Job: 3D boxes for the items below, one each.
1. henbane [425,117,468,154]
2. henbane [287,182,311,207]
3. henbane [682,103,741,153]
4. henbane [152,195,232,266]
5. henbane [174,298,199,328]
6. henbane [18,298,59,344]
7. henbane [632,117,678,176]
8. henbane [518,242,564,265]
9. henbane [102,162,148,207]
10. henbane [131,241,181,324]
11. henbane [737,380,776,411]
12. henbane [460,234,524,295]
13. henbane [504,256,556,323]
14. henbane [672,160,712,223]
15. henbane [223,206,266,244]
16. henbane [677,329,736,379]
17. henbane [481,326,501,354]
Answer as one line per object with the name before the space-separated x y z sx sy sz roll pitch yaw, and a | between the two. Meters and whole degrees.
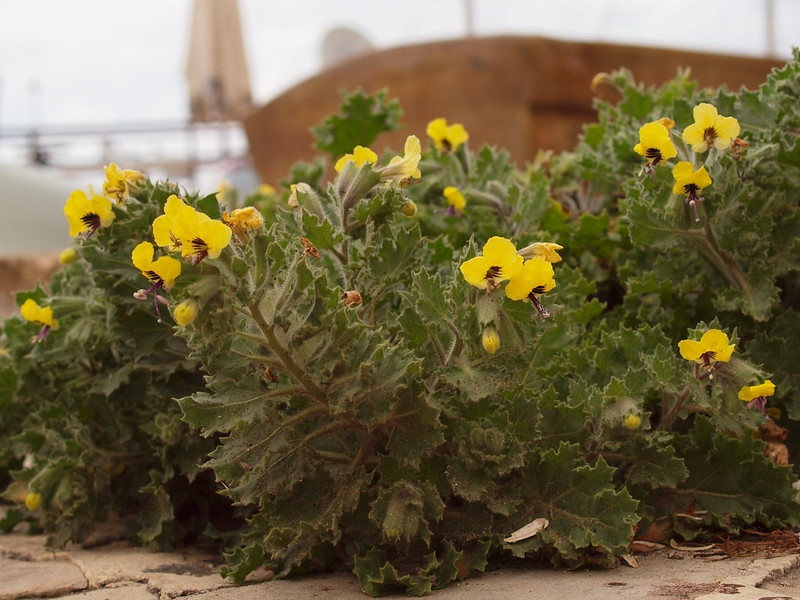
henbane | 0.184 -0.694 4.185 0.153 0.135 0.253 -3 -4 -12
henbane | -0.343 -0.369 3.319 0.071 0.098 0.045 -3 16 -31
henbane | 1.058 -0.575 3.290 0.160 0.084 0.176 29 -15 31
henbane | -0.602 -0.212 2.887 0.195 0.211 0.109 18 18 10
henbane | -0.637 0.039 2.871 0.075 0.076 0.111 -3 -3 -14
henbane | -1.323 0.070 3.560 0.095 0.165 0.166 -2 24 -28
henbane | 0.901 -0.541 3.385 0.135 0.148 0.239 -5 -3 21
henbane | 0.432 -0.153 3.087 0.062 0.065 0.186 -9 10 -42
henbane | -0.966 -0.402 3.403 0.068 0.131 0.191 -5 -3 28
henbane | -0.737 -0.082 2.901 0.120 0.092 0.127 18 -16 9
henbane | 1.158 0.313 3.145 0.109 0.084 0.141 -5 -4 24
henbane | 0.284 -0.108 2.996 0.158 0.170 0.082 -3 26 -19
henbane | 0.381 -0.065 3.020 0.160 0.069 0.142 16 -27 -33
henbane | 1.001 -0.358 3.348 0.142 0.225 0.081 -23 12 -22
henbane | -0.478 -0.238 3.017 0.102 0.111 0.113 -28 -18 -5
henbane | 0.991 0.164 3.131 0.151 0.131 0.161 -6 -15 12
henbane | 0.288 0.136 3.029 0.049 0.087 0.032 -13 -19 6
